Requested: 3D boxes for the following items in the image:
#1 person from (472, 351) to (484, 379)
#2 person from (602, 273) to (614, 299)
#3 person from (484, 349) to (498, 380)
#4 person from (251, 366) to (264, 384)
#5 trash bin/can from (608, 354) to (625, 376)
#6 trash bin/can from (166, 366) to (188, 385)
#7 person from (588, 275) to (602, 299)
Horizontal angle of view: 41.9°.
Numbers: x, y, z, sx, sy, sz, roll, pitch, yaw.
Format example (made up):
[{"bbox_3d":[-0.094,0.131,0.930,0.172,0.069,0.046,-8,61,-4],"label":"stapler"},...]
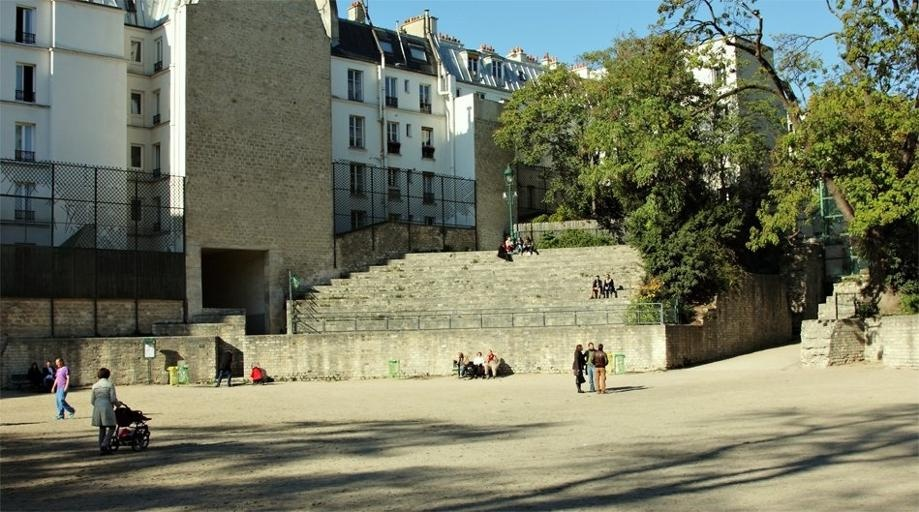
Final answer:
[{"bbox_3d":[1.257,7.025,77.749,0.682,1.649,0.460,-1,-7,-7],"label":"person"},{"bbox_3d":[10.293,2.104,82.585,0.848,1.709,1.468,-3,-7,8],"label":"person"},{"bbox_3d":[2.008,6.951,77.637,0.700,1.891,0.860,-4,-8,15],"label":"person"},{"bbox_3d":[-13.462,7.904,79.971,0.881,1.192,1.502,-1,-7,-8],"label":"person"},{"bbox_3d":[10.156,6.895,76.524,1.257,1.344,1.209,0,-12,2],"label":"trash bin/can"},{"bbox_3d":[-18.896,8.039,80.518,1.295,1.017,1.225,-1,-9,-4],"label":"trash bin/can"},{"bbox_3d":[9.486,2.174,82.939,0.951,1.631,1.577,-3,-7,5],"label":"person"}]
